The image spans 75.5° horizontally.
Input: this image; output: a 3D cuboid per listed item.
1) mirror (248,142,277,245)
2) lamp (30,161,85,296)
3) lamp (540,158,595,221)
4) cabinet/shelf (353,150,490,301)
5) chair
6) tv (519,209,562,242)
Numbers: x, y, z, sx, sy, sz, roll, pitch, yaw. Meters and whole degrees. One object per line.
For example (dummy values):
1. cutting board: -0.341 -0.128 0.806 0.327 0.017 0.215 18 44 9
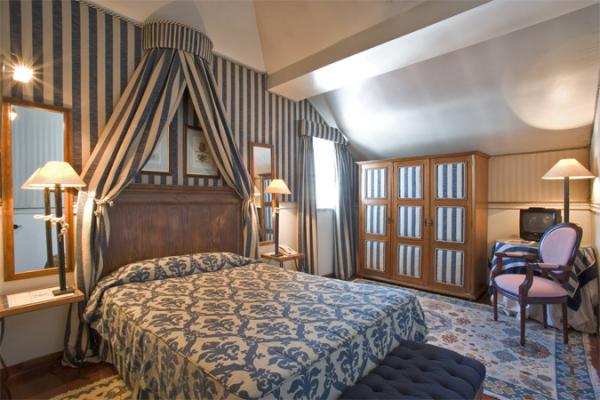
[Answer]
1. mirror: -0.502 0.043 5.914 0.204 1.766 0.565 -11 12 -32
2. lamp: -2.629 0.291 4.216 0.515 1.601 0.444 -3 1 -35
3. lamp: 3.650 -0.139 5.231 0.524 0.838 0.666 -2 1 43
4. cabinet/shelf: 2.014 0.418 6.158 2.389 2.624 0.932 0 -1 39
5. chair: 2.985 1.008 4.985 0.969 1.457 1.011 2 3 32
6. tv: 3.355 0.354 5.384 0.253 0.441 0.453 3 -3 -37
